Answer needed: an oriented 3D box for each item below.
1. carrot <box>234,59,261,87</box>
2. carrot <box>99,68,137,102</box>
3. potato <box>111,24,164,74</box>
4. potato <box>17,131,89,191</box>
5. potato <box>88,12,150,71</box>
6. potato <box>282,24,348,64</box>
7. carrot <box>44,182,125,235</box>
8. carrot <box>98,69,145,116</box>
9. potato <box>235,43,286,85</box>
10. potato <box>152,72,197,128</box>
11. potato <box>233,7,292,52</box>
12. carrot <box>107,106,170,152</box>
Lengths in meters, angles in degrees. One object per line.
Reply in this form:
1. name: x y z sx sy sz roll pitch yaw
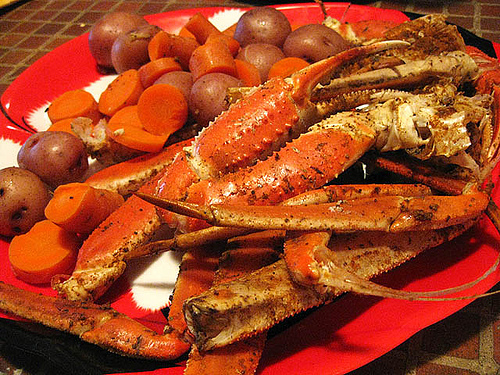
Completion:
1. carrot: -0.018 -0.404 1.913 0.038 0.098 0.127 -20 50 -31
2. carrot: -0.453 -0.361 2.000 0.139 0.038 0.104 -46 30 -20
3. potato: -0.428 -0.510 2.067 0.198 0.109 0.144 -30 15 15
4. potato: -0.652 -0.103 1.834 0.230 0.171 0.169 14 26 18
5. potato: -0.546 -0.605 2.268 0.258 0.192 0.215 23 44 21
6. potato: 0.223 -0.515 1.969 0.219 0.115 0.157 -8 35 -12
7. carrot: -0.501 0.064 1.709 0.216 0.119 0.150 -11 2 -44
8. carrot: -0.439 -0.346 2.002 0.162 0.065 0.168 -31 32 30
9. potato: 0.046 -0.452 1.987 0.147 0.090 0.169 6 21 22
10. potato: -0.259 -0.284 1.921 0.153 0.102 0.174 8 74 0
11. potato: 0.053 -0.583 2.111 0.188 0.169 0.168 13 -1 -14
12. carrot: -0.399 -0.200 1.840 0.196 0.044 0.170 -8 37 -28
